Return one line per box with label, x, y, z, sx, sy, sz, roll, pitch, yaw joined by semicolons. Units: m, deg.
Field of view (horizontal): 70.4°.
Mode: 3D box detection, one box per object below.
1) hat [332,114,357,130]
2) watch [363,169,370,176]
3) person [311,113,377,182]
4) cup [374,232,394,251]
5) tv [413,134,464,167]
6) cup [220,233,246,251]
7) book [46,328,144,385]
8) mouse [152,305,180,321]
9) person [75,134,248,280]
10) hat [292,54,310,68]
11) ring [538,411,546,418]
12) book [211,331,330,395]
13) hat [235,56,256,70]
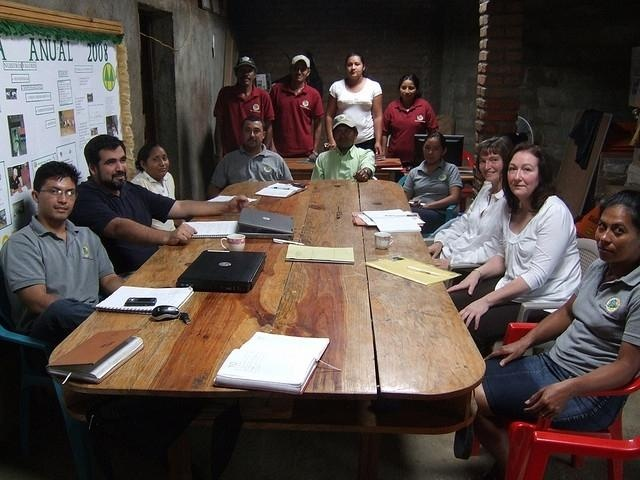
hat;0.241;-1.175;4.542;0.204;0.129;0.230;3;19;13
watch;0.453;-0.656;4.387;0.074;0.057;0.076;-2;20;4
person;0.238;-0.930;4.628;0.549;0.718;0.756;0;15;3
cup;0.376;0.008;2.776;0.086;0.080;0.107;-1;17;2
tv;1.261;-0.943;4.829;0.467;0.531;0.052;4;30;12
cup;-0.531;0.015;2.741;0.136;0.091;0.094;0;17;11
book;-0.834;0.422;1.713;0.247;0.072;0.319;6;20;22
mouse;-0.668;0.316;1.954;0.094;0.035;0.062;-3;26;-6
person;-1.073;-0.297;3.495;1.075;1.358;0.983;-2;20;2
hat;-0.242;-2.215;5.658;0.218;0.146;0.209;-8;20;-20
ring;0.898;0.706;1.832;0.025;0.009;0.039;0;24;13
book;-0.167;0.450;1.672;0.343;0.050;0.327;2;19;12
hat;-0.933;-2.212;5.702;0.218;0.167;0.606;-3;19;-5
